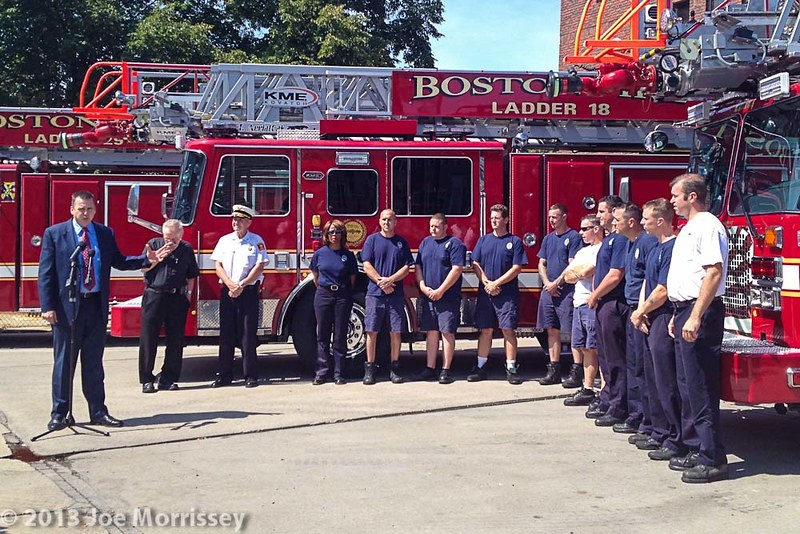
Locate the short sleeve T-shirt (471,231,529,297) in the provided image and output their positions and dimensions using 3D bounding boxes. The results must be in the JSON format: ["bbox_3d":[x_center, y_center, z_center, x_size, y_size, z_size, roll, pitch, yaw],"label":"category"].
[{"bbox_3d":[1.329,-0.040,15.139,0.825,0.805,0.324,1,0,17],"label":"short sleeve T-shirt"}]

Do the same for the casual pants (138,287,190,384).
[{"bbox_3d":[-3.228,0.960,14.898,0.629,1.271,0.406,5,-4,-16],"label":"casual pants"}]

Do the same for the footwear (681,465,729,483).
[{"bbox_3d":[3.221,2.180,11.652,0.493,0.194,0.181,2,-5,-8],"label":"footwear"}]

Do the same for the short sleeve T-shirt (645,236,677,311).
[{"bbox_3d":[2.870,0.106,12.141,0.381,0.869,0.798,1,-6,2],"label":"short sleeve T-shirt"}]

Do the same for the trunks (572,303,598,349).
[{"bbox_3d":[2.410,0.754,14.171,0.321,0.528,0.429,1,0,-38],"label":"trunks"}]

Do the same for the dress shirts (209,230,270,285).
[{"bbox_3d":[-2.234,-0.117,14.986,0.830,0.674,0.355,1,-4,4],"label":"dress shirts"}]

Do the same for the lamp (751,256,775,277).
[{"bbox_3d":[3.935,0.020,11.977,0.184,0.268,0.322,1,-2,-29],"label":"lamp"}]

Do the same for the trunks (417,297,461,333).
[{"bbox_3d":[0.532,0.634,15.217,0.599,0.507,0.338,-1,4,31],"label":"trunks"}]

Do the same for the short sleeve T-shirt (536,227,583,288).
[{"bbox_3d":[2.151,-0.107,14.759,0.852,0.865,0.373,0,-15,45],"label":"short sleeve T-shirt"}]

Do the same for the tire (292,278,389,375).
[{"bbox_3d":[-0.843,0.782,15.231,1.557,1.322,0.375,3,1,-5],"label":"tire"}]

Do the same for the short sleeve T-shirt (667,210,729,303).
[{"bbox_3d":[3.143,-0.080,11.714,0.590,0.958,1.068,1,-1,-4],"label":"short sleeve T-shirt"}]

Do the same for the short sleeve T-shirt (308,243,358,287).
[{"bbox_3d":[-0.910,-0.020,15.081,0.665,0.510,0.328,2,8,-5],"label":"short sleeve T-shirt"}]

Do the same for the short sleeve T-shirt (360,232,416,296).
[{"bbox_3d":[-0.181,-0.064,15.065,1.000,0.969,0.371,1,-3,-2],"label":"short sleeve T-shirt"}]

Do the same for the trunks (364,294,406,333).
[{"bbox_3d":[-0.191,0.637,15.195,0.611,0.497,0.336,2,2,3],"label":"trunks"}]

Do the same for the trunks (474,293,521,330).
[{"bbox_3d":[1.272,0.579,15.223,0.590,0.472,0.312,-1,11,1],"label":"trunks"}]

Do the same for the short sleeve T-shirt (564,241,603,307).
[{"bbox_3d":[2.346,0.093,14.052,0.338,0.756,0.699,10,19,6],"label":"short sleeve T-shirt"}]

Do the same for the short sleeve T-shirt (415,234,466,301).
[{"bbox_3d":[0.533,0.009,15.059,0.937,0.999,0.551,-2,-7,40],"label":"short sleeve T-shirt"}]

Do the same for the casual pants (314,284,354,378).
[{"bbox_3d":[-0.943,0.900,15.169,0.555,1.258,0.376,1,-6,8],"label":"casual pants"}]
